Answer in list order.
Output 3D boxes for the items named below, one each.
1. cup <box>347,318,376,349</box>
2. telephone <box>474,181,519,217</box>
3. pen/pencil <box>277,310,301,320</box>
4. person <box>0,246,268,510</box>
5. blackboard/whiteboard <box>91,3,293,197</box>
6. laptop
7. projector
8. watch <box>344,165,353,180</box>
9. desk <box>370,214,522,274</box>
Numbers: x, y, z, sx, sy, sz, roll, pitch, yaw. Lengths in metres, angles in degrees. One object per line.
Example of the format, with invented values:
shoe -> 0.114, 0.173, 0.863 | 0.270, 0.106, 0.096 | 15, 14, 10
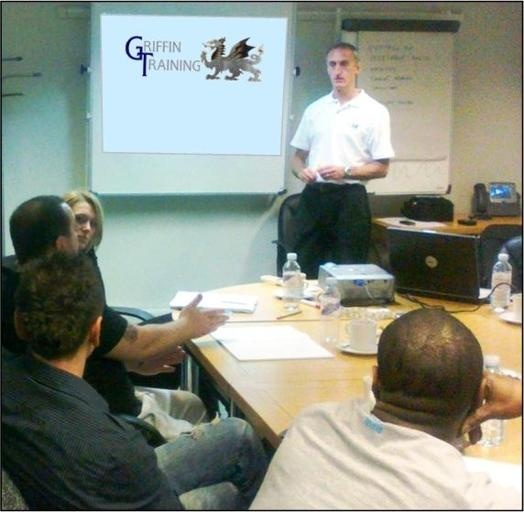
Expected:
cup -> 0.288, 0.221, 1.524 | 0.060, 0.066, 0.086 | -1, 5, 0
telephone -> 1.737, -0.361, 4.013 | 0.325, 0.338, 0.250 | 0, 1, 0
pen/pencil -> 0.097, 0.216, 1.947 | 0.012, 0.014, 0.112 | 11, 11, 41
person -> -0.306, 0.302, 1.352 | 0.373, 0.884, 0.512 | 25, 39, 34
blackboard/whiteboard -> -0.468, -0.995, 3.576 | 1.241, 1.294, 0.308 | -3, 10, -6
laptop -> 0.663, 0.030, 1.988 | 0.386, 0.290, 0.299 | 2, -9, 7
projector -> 0.376, 0.073, 2.124 | 0.181, 0.087, 0.192 | -1, 9, -9
watch -> 0.519, -0.502, 3.211 | 0.044, 0.074, 0.064 | 0, 7, -6
desk -> 1.216, -0.205, 3.596 | 0.539, 0.382, 0.589 | -2, 10, -7
